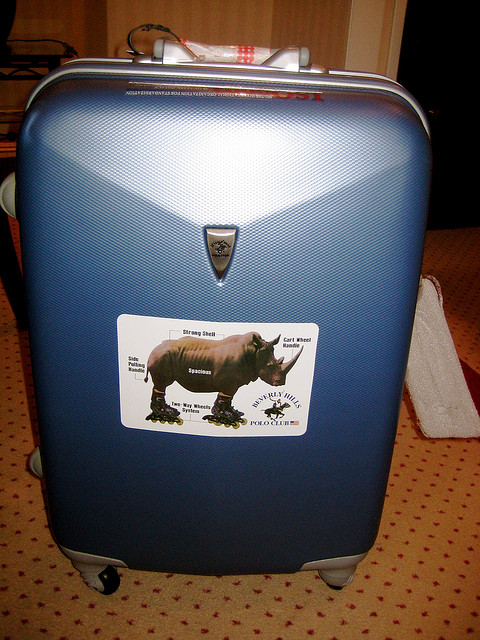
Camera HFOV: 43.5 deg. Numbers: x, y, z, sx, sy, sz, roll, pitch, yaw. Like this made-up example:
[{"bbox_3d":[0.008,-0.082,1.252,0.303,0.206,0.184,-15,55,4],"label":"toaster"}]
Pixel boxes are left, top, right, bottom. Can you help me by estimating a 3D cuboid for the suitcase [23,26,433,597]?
[{"bbox_3d":[-0.051,0.051,0.721,0.445,0.686,0.286,-1,33,-9],"label":"suitcase"}]
